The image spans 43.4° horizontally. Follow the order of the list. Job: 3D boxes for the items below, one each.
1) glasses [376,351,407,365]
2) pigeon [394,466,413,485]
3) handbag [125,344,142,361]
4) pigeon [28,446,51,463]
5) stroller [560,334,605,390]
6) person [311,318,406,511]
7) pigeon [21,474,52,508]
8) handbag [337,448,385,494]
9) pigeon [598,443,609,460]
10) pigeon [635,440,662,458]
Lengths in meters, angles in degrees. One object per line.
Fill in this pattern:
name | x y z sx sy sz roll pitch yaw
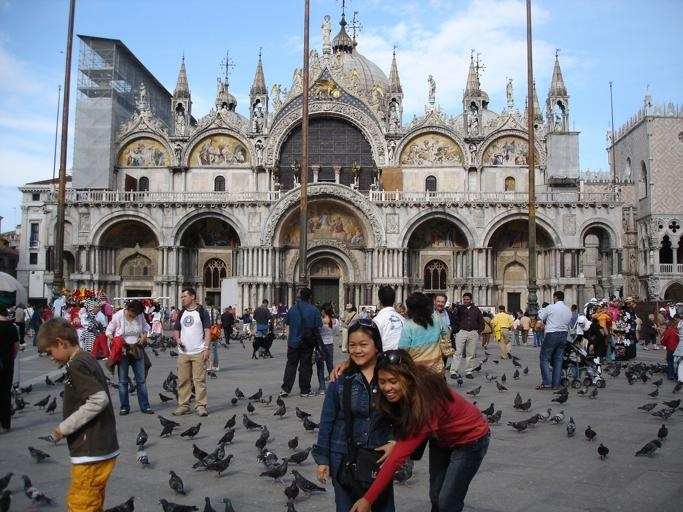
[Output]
glasses | 0.680 1.359 11.696 0.401 0.193 0.164 0 -7 5
pigeon | 1.037 3.614 14.380 0.242 0.334 0.344 -3 -10 20
handbag | -4.483 2.043 18.529 0.292 0.317 0.126 -1 5 -1
pigeon | -5.414 3.449 15.210 0.489 0.334 0.222 4 -13 -15
stroller | 5.972 2.689 21.982 1.390 1.775 1.164 -3 -5 30
person | 0.243 2.188 12.400 1.146 2.488 1.264 -2 2 1
pigeon | -4.825 3.747 13.750 0.734 0.482 0.280 3 -9 27
handbag | 0.151 2.883 12.079 0.864 0.882 0.527 1 -12 -5
pigeon | 4.639 3.447 15.282 0.147 0.232 0.290 -6 -38 14
pigeon | 5.529 3.393 15.397 0.580 0.296 0.381 5 -9 -31
